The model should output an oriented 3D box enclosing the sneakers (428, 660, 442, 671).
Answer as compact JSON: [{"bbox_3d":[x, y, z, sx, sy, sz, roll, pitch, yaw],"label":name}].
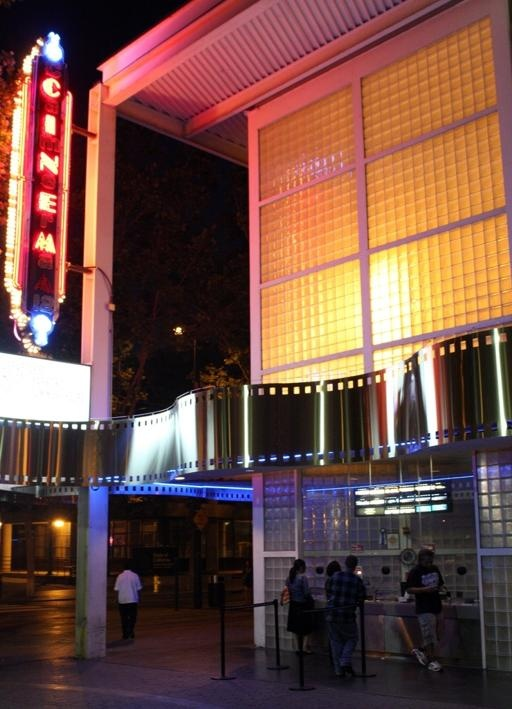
[{"bbox_3d":[2.270,3.970,8.607,0.139,0.108,0.312,1,-15,4],"label":"sneakers"}]

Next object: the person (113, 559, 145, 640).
[{"bbox_3d":[-2.883,5.540,15.219,0.498,1.650,2.474,4,-15,-9],"label":"person"}]

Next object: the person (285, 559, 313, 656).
[{"bbox_3d":[0.638,3.627,9.944,0.402,1.164,0.686,1,-14,2],"label":"person"}]

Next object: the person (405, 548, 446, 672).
[{"bbox_3d":[2.196,3.301,8.746,0.456,1.488,0.703,-2,-14,15],"label":"person"}]
